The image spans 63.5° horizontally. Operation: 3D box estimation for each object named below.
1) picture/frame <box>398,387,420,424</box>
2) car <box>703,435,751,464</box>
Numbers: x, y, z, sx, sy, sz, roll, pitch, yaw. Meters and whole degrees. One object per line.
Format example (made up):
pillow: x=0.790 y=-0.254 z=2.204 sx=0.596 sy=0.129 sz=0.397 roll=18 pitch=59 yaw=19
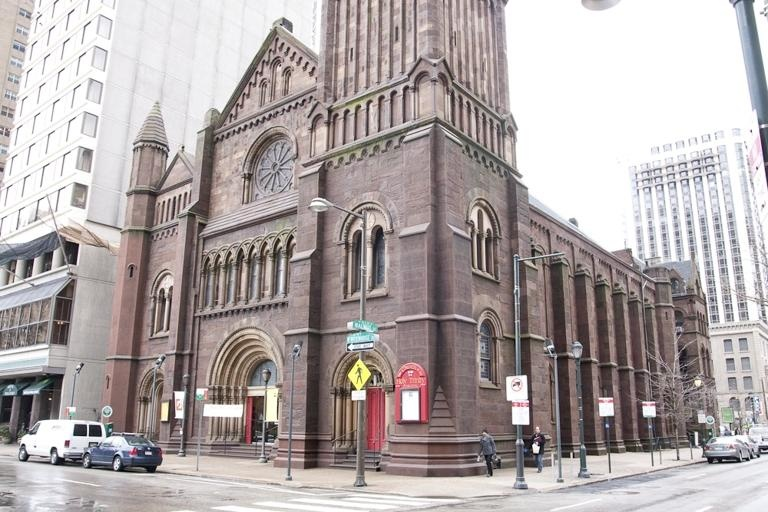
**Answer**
picture/frame: x=1.405 y=8.063 z=33.225 sx=1.728 sy=2.152 sz=0.290 roll=-12 pitch=-25 yaw=34
car: x=24.430 y=13.578 z=43.631 sx=3.634 sy=1.652 sz=1.660 roll=9 pitch=-23 yaw=-26
